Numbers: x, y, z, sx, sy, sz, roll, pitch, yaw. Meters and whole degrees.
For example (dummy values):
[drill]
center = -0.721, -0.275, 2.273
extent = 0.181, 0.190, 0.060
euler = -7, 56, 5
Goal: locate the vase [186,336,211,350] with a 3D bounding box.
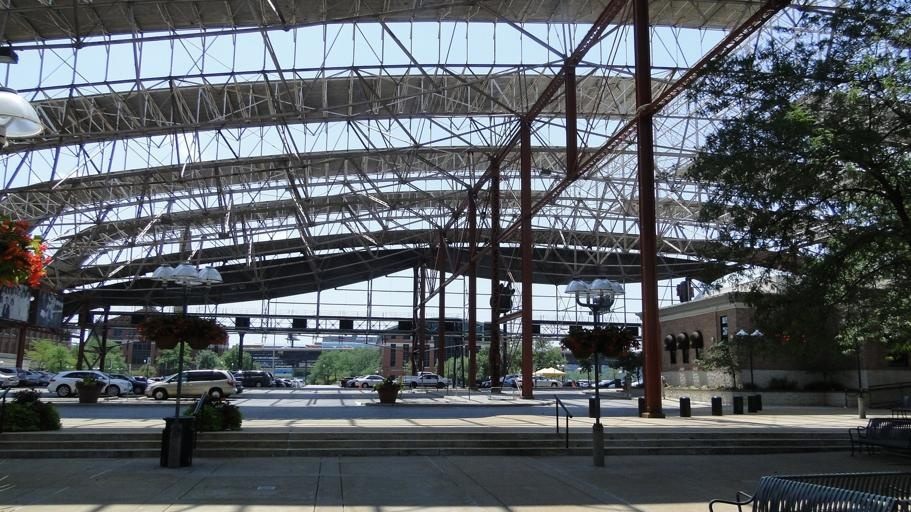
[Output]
[vase]
center = -12.342, 4.124, 41.130
extent = 0.837, 0.336, 0.789
euler = -3, 3, -39

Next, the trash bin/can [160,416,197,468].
[trash bin/can]
center = -12.871, 8.595, 39.610
extent = 1.352, 2.270, 0.895
euler = 4, -14, -25

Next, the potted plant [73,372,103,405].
[potted plant]
center = -24.686, 9.010, 58.334
extent = 2.132, 1.892, 2.098
euler = 8, -10, -41
